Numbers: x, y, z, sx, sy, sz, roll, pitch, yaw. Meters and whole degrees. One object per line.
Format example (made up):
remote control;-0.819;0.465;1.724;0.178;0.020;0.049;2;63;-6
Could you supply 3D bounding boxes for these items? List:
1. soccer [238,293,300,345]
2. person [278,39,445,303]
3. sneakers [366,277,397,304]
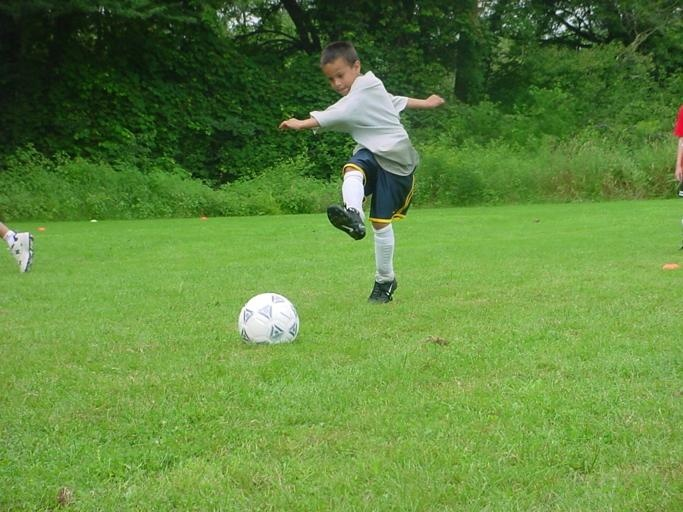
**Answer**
soccer;-0.502;0.431;4.269;0.356;0.280;0.286;6;17;29
person;0.205;-0.669;5.230;0.880;2.231;1.556;3;16;20
sneakers;0.340;0.291;5.315;0.115;0.149;0.331;2;16;15
